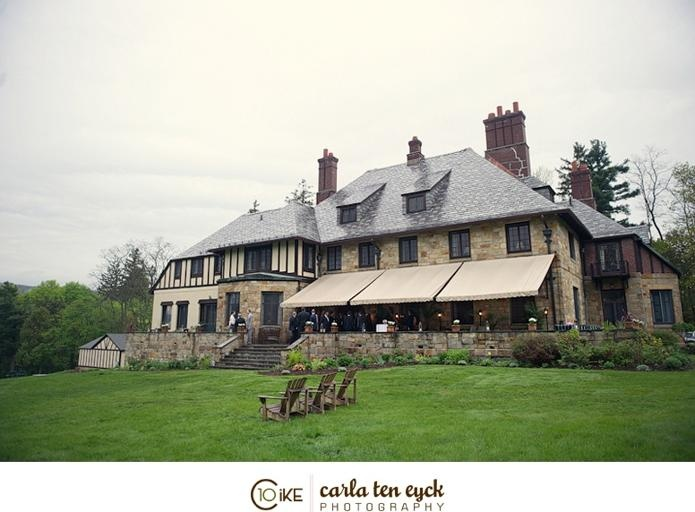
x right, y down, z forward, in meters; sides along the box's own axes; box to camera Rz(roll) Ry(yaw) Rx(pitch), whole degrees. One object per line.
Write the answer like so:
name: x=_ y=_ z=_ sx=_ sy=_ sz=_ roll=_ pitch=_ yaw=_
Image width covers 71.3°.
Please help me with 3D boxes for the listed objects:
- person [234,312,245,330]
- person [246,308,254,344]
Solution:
person: x=-6.664 y=4.024 z=29.969 sx=0.709 sy=0.909 sz=1.316 roll=-7 pitch=8 yaw=-24
person: x=-5.929 y=4.344 z=29.487 sx=0.534 sy=1.622 sz=1.320 roll=-5 pitch=8 yaw=-9
